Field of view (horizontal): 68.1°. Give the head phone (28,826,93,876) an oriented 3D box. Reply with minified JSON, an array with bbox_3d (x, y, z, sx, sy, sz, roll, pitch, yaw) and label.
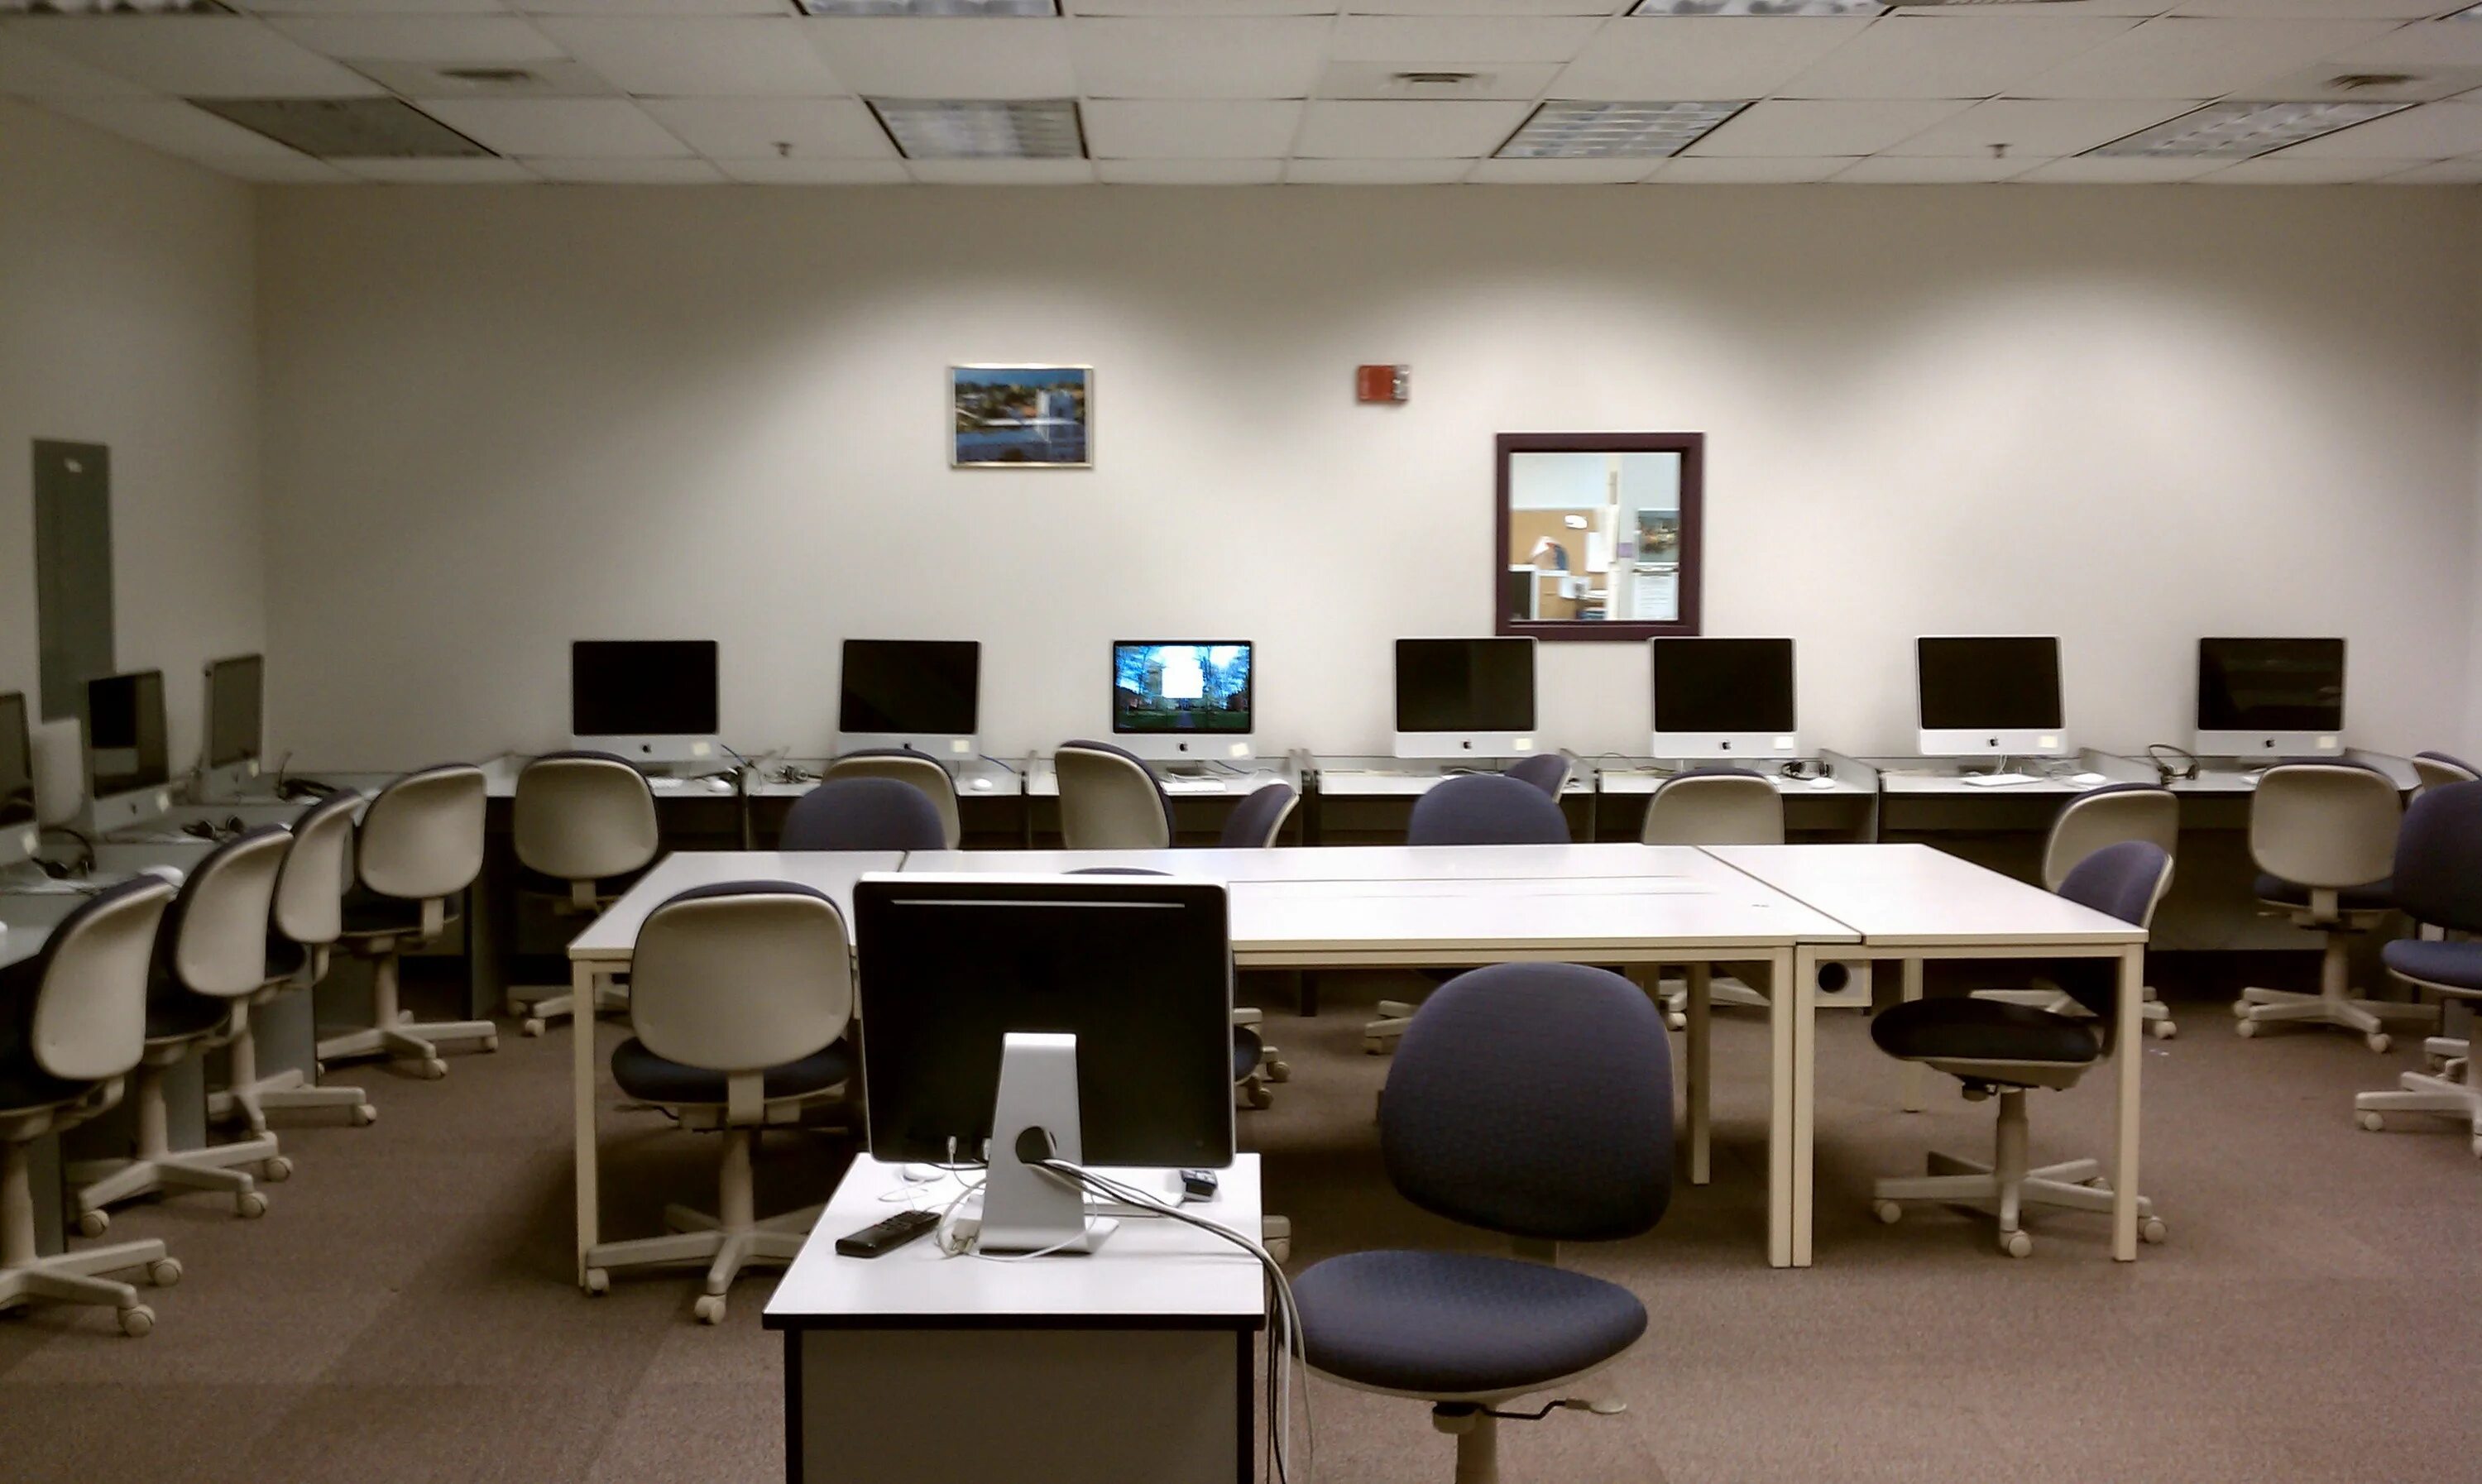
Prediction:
[{"bbox_3d":[-5.058,0.458,7.907,0.193,0.195,0.563,2,0,-30],"label":"head phone"}]

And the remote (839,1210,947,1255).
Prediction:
[{"bbox_3d":[-0.988,1.363,5.184,0.108,0.034,0.220,0,5,19],"label":"remote"}]

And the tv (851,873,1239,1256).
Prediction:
[{"bbox_3d":[-0.552,0.903,5.203,1.145,0.760,0.147,0,3,2],"label":"tv"}]

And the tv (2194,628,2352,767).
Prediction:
[{"bbox_3d":[5.264,-0.222,9.445,0.750,0.642,0.250,0,1,3],"label":"tv"}]

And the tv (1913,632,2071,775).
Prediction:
[{"bbox_3d":[3.823,-0.202,9.425,0.782,0.627,0.287,-1,1,-2],"label":"tv"}]

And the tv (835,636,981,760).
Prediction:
[{"bbox_3d":[-1.693,-0.236,9.387,0.692,0.571,0.545,3,0,1],"label":"tv"}]

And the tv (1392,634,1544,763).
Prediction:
[{"bbox_3d":[1.135,-0.234,9.410,0.716,0.555,0.288,0,-1,-2],"label":"tv"}]

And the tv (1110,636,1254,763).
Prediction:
[{"bbox_3d":[-0.323,-0.235,9.435,0.698,0.541,0.214,0,2,-2],"label":"tv"}]

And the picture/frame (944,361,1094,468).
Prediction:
[{"bbox_3d":[-1.175,-1.723,9.472,0.601,0.382,0.023,0,1,-2],"label":"picture/frame"}]

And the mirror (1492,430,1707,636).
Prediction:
[{"bbox_3d":[1.870,-1.093,9.693,1.171,1.004,0.083,0,-1,1],"label":"mirror"}]

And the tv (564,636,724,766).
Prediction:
[{"bbox_3d":[-3.005,-0.214,9.248,0.707,0.573,0.237,0,2,-3],"label":"tv"}]
